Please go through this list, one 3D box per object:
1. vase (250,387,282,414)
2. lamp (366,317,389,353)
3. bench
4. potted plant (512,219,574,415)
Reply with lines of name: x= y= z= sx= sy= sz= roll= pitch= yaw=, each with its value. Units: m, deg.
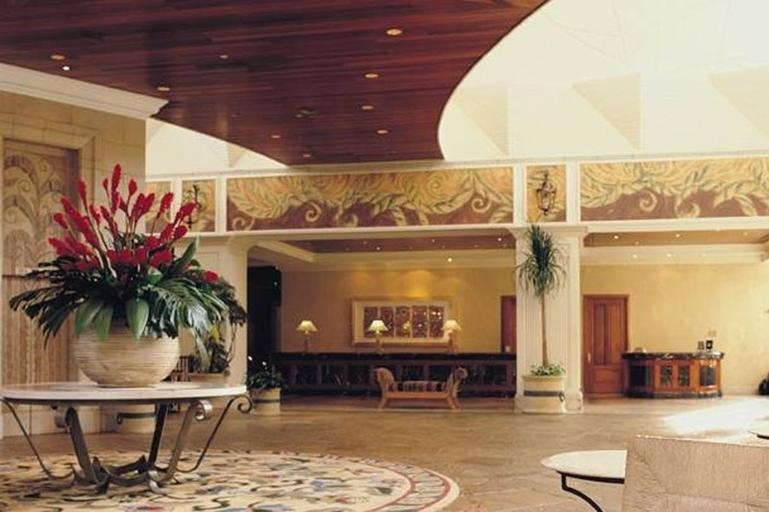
vase: x=-2.048 y=2.498 z=13.431 sx=0.454 sy=0.330 sz=0.458 roll=-4 pitch=-8 yaw=32
lamp: x=-0.196 y=1.936 z=19.083 sx=0.473 sy=0.789 sz=0.890 roll=-1 pitch=-5 yaw=3
bench: x=0.822 y=2.655 z=16.052 sx=1.849 sy=0.753 sz=3.284 roll=-1 pitch=-6 yaw=2
potted plant: x=2.821 y=1.099 z=13.945 sx=0.962 sy=3.334 sz=0.776 roll=-2 pitch=-5 yaw=14
